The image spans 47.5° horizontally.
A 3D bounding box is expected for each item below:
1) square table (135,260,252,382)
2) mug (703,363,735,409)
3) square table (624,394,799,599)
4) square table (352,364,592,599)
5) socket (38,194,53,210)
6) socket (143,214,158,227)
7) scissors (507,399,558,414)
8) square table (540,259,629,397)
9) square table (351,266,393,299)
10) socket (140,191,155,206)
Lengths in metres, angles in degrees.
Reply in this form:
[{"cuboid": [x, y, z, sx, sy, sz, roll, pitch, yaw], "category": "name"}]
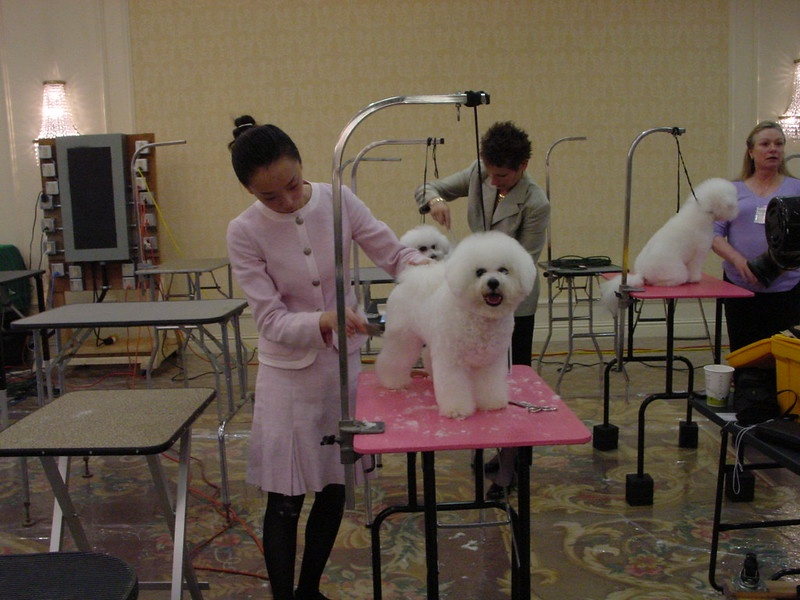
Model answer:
[{"cuboid": [-1.682, 0.182, 7.260, 0.445, 0.650, 1.061, -1, 7, -1], "category": "square table"}, {"cuboid": [1.768, 0.475, 5.057, 0.143, 0.216, 0.191, 2, 7, 35], "category": "mug"}, {"cuboid": [1.652, 1.064, 5.470, 1.030, 0.937, 1.418, -2, 8, -3], "category": "square table"}, {"cuboid": [0.322, 1.279, 4.949, 1.081, 0.908, 1.878, -1, 9, -2], "category": "square table"}, {"cuboid": [-3.168, -0.874, 8.171, 0.161, 0.149, 0.087, 6, 9, 40], "category": "socket"}, {"cuboid": [-2.258, -0.710, 8.282, 0.136, 0.120, 0.094, 0, 3, -3], "category": "socket"}, {"cuboid": [0.669, 0.541, 4.601, 0.223, 0.031, 0.077, 9, 40, 23], "category": "scissors"}, {"cuboid": [1.557, 0.238, 7.660, 0.654, 1.001, 1.128, 0, 6, 1], "category": "square table"}, {"cuboid": [-0.235, -0.157, 7.382, 0.310, 0.162, 0.465, 0, 4, -7], "category": "square table"}, {"cuboid": [-2.267, -0.897, 8.256, 0.185, 0.160, 0.098, 0, 2, -3], "category": "socket"}]
